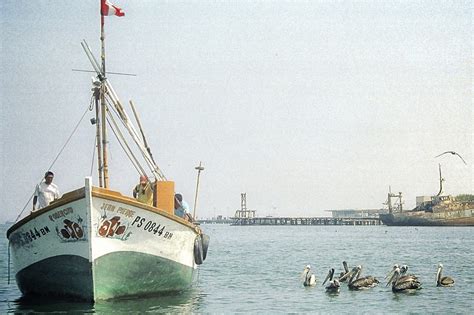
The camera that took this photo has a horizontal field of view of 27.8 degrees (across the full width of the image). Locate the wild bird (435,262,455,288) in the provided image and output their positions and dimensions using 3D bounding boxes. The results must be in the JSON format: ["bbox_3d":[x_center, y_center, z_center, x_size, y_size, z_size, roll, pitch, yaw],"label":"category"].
[{"bbox_3d":[14.574,8.325,67.035,1.152,1.622,1.236,-5,-10,13],"label":"wild bird"}]
